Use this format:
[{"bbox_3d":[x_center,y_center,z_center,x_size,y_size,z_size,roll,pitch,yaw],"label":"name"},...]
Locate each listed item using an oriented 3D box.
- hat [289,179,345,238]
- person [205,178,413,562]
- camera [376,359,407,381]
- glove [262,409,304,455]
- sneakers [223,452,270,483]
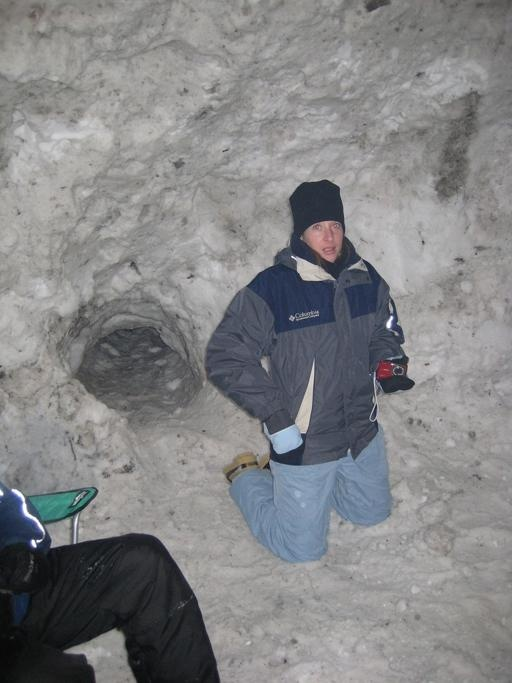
[{"bbox_3d":[0.273,-0.610,3.210,0.291,0.240,0.212,-8,3,-11],"label":"hat"},{"bbox_3d":[0.240,0.149,3.260,0.963,1.722,0.608,-5,0,-11],"label":"person"},{"bbox_3d":[0.647,0.136,3.288,0.099,0.059,0.123,9,-13,-21],"label":"camera"},{"bbox_3d":[0.117,0.386,2.991,0.161,0.196,0.069,-23,11,3],"label":"glove"},{"bbox_3d":[-0.047,0.638,3.608,0.154,0.075,0.210,-25,-4,40],"label":"sneakers"}]
